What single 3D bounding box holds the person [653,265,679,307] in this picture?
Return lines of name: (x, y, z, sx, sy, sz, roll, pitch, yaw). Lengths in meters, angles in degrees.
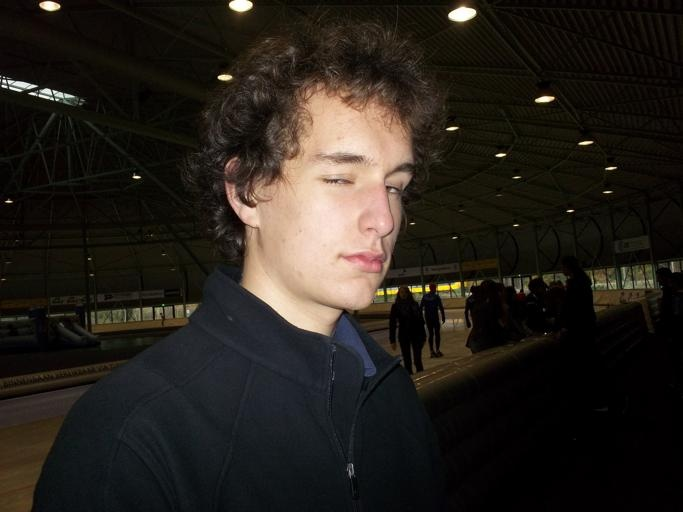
person: (5.221, 0.470, 7.679, 0.274, 0.609, 1.217, -7, -7, 33)
